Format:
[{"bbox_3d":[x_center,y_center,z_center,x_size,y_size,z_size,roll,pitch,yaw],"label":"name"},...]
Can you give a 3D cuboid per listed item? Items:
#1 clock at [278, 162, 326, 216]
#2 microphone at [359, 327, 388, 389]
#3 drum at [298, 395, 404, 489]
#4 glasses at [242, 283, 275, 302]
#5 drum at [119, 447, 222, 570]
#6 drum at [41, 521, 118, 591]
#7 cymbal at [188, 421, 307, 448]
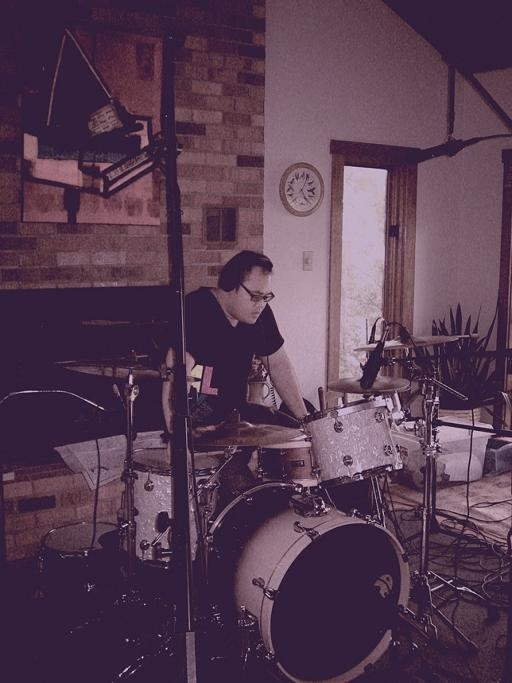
[{"bbox_3d":[0.235,-0.762,3.534,0.051,0.259,0.308,10,17,43],"label":"clock"},{"bbox_3d":[0.455,0.081,2.626,0.063,0.314,0.074,20,-25,-8],"label":"microphone"},{"bbox_3d":[0.357,0.430,2.562,0.314,0.295,0.382,-3,-29,-16],"label":"drum"},{"bbox_3d":[0.014,-0.208,3.256,0.096,0.030,0.093,50,26,22],"label":"glasses"},{"bbox_3d":[-0.291,0.585,2.480,0.214,0.296,0.237,1,-3,-26],"label":"drum"},{"bbox_3d":[-0.684,0.832,2.727,0.224,0.213,0.252,0,-4,28],"label":"drum"},{"bbox_3d":[-0.017,0.329,2.378,0.385,0.071,0.178,-3,15,-9],"label":"cymbal"}]
